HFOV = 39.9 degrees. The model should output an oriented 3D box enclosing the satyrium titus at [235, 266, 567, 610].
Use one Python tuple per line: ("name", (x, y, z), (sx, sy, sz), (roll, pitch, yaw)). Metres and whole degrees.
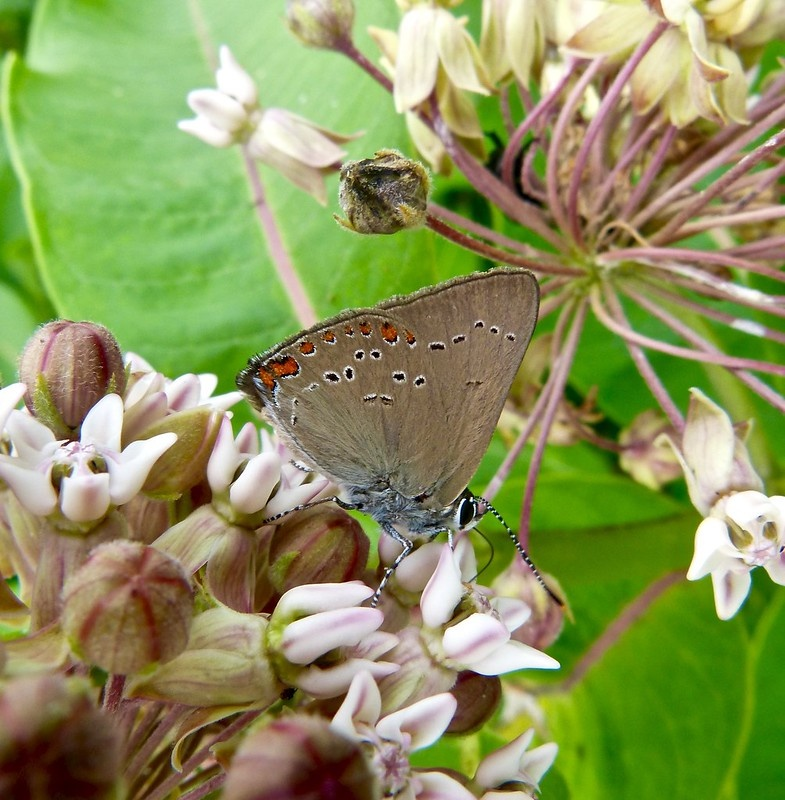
("satyrium titus", (0.009, 0.068, 1.189), (0.329, 0.324, 0.290), (13, 40, 3))
